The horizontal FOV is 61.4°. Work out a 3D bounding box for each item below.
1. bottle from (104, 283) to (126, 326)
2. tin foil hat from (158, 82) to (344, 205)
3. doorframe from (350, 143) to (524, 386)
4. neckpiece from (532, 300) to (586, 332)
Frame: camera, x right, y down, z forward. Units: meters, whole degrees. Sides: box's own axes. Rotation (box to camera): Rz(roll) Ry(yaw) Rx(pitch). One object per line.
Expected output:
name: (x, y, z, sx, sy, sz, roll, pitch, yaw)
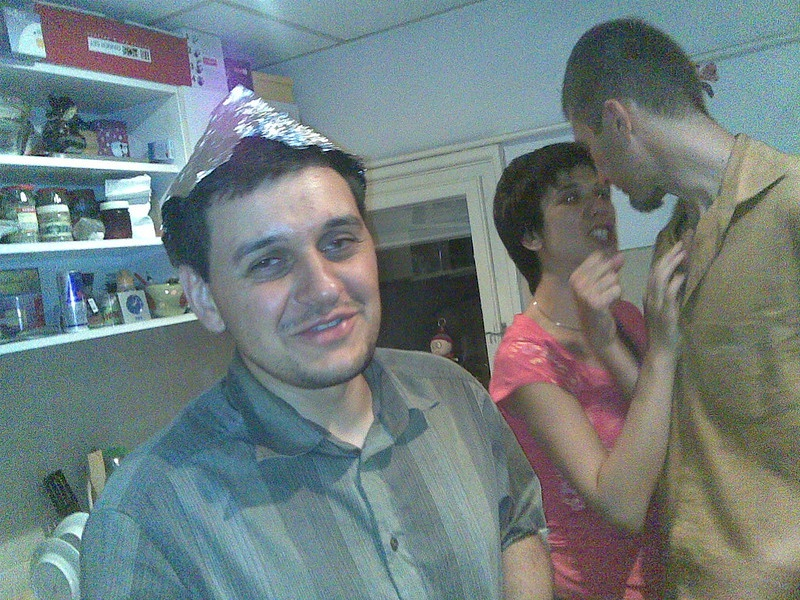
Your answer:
bottle: (-0.944, 0.022, 2.228, 0.080, 0.146, 0.078, -10, -22, -4)
tin foil hat: (-0.260, -0.237, 1.220, 0.233, 0.093, 0.233, -32, 11, 13)
doorframe: (0.159, -0.154, 2.294, 0.073, 0.851, 0.994, -8, 5, -44)
neckpiece: (0.405, 0.049, 1.737, 0.087, 0.022, 0.069, 25, 0, 2)
